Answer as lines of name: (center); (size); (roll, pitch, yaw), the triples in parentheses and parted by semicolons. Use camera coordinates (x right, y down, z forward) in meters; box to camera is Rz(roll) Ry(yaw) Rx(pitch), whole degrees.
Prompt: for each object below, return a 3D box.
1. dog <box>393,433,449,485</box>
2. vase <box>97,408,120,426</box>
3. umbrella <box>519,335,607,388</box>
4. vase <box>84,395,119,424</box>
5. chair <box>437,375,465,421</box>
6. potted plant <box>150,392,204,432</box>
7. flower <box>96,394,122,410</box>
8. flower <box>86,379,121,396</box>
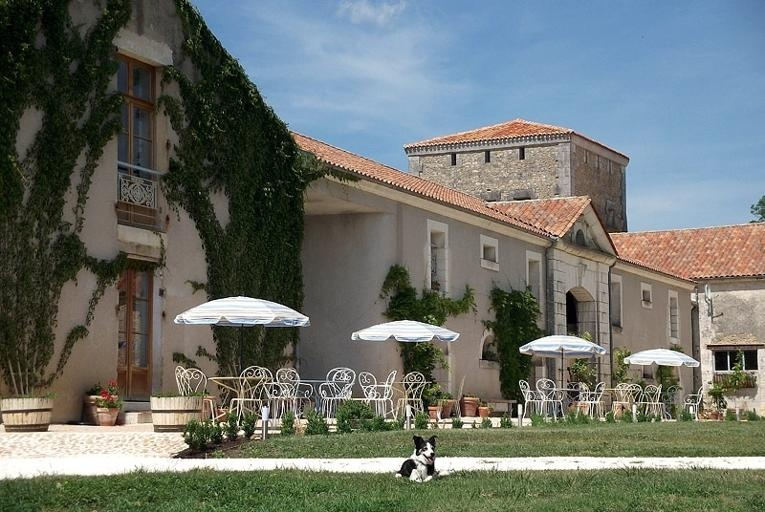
dog: (0.658, 3.422, 19.783); (0.682, 0.776, 1.150); (1, -2, -14)
vase: (-5.713, 3.424, 24.707); (0.507, 0.384, 0.330); (7, -15, -30)
umbrella: (4.904, 2.671, 31.601); (1.532, 1.013, 1.664); (-3, -5, 6)
vase: (-5.878, 3.336, 24.842); (0.603, 0.484, 0.632); (-6, -14, 28)
chair: (1.898, 4.048, 31.982); (0.822, 1.269, 0.727); (3, -14, -4)
potted plant: (-4.142, 3.226, 23.984); (0.819, 0.570, 0.732); (1, -10, -5)
flower: (-5.699, 3.117, 24.699); (0.509, 0.286, 0.187); (3, -13, -16)
flower: (-5.860, 2.858, 24.969); (0.379, 0.265, 0.398); (2, 1, 37)
